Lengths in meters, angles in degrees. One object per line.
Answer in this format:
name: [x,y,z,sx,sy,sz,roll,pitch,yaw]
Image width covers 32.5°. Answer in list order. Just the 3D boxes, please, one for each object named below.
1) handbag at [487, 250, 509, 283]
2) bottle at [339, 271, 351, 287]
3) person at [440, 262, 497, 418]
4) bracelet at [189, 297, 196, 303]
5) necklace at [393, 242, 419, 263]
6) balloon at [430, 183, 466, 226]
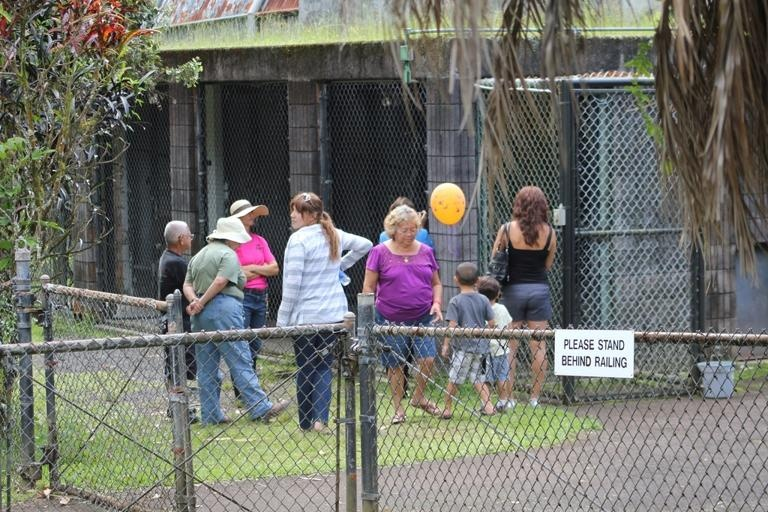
handbag: [1.138,0.111,13.168,0.240,0.444,0.184,4,-7,6]
bottle: [-0.424,0.234,13.577,0.130,0.167,0.046,12,-25,-31]
person: [0.852,0.866,13.270,0.512,1.507,1.358,0,9,4]
bracelet: [-1.922,0.454,13.240,0.039,0.067,0.021,10,-16,27]
necklace: [0.214,-0.055,13.324,0.287,0.233,0.214,-1,9,-3]
balloon: [0.672,-0.583,14.471,0.387,0.597,0.410,-5,4,-31]
